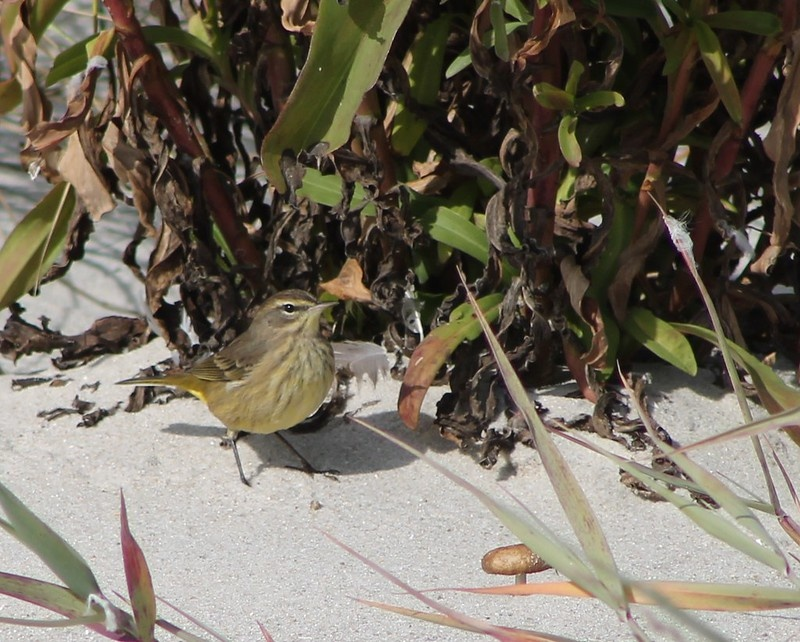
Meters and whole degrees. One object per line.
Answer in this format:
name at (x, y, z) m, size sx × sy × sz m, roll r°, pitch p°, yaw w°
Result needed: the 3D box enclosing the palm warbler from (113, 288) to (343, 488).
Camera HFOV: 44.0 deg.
palm warbler at (-0.537, 0.235, 4.234) m, size 0.466 × 0.738 × 0.787 m, roll -4°, pitch 36°, yaw -46°
